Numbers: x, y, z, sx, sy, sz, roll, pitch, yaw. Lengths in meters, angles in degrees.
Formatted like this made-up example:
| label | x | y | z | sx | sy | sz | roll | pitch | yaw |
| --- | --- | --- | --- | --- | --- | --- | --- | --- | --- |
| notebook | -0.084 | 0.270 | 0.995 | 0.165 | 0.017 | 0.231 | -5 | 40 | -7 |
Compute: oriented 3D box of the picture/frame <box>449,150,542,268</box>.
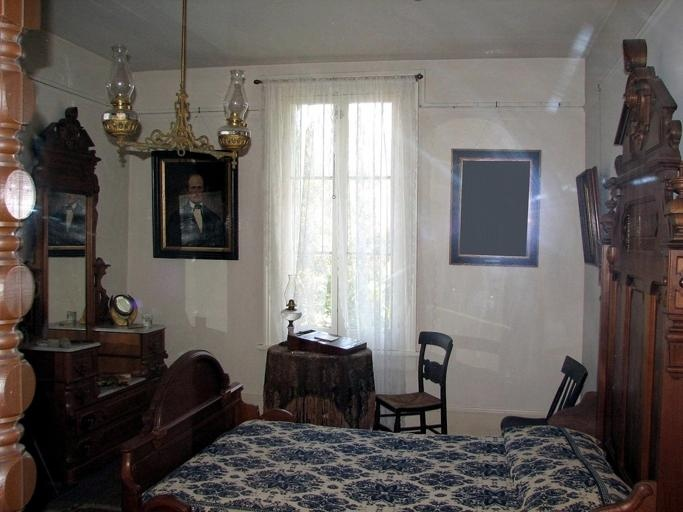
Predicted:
| label | x | y | z | sx | sy | sz | roll | pitch | yaw |
| --- | --- | --- | --- | --- | --- | --- | --- | --- | --- |
| picture/frame | 1.385 | -0.438 | 4.944 | 0.899 | 1.256 | 0.081 | 1 | 1 | 7 |

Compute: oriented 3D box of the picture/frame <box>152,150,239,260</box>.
| label | x | y | z | sx | sy | sz | roll | pitch | yaw |
| --- | --- | --- | --- | --- | --- | --- | --- | --- | --- |
| picture/frame | -1.337 | -0.518 | 5.310 | 0.898 | 1.168 | 0.068 | 2 | 4 | 10 |

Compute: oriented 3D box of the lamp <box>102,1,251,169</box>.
| label | x | y | z | sx | sy | sz | roll | pitch | yaw |
| --- | --- | --- | --- | --- | --- | --- | --- | --- | --- |
| lamp | -1.296 | -1.416 | 4.567 | 1.025 | 1.777 | 0.240 | 5 | -20 | -25 |
